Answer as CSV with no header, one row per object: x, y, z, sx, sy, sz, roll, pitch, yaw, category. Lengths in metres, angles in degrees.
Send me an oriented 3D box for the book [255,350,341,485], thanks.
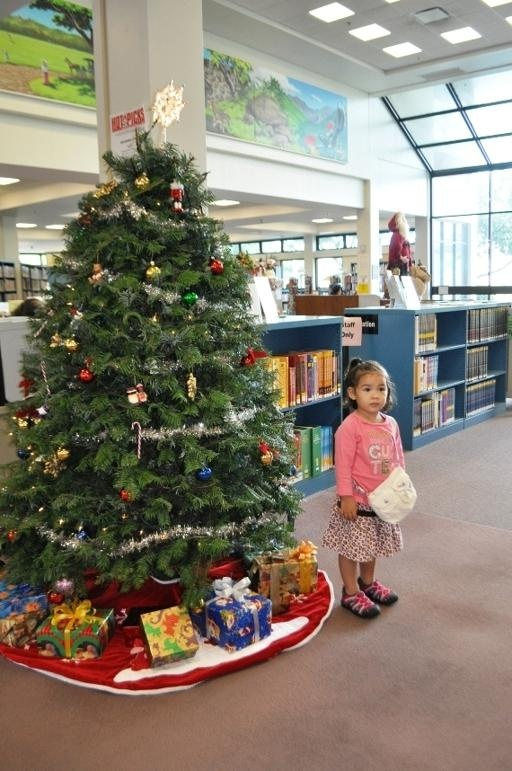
0.233,0.164,2.893,0.274,0.761,0.780,6,12,37,book

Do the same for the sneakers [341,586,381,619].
0.372,0.766,1.933,0.124,0.058,0.062,2,6,42,sneakers

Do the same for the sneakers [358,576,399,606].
0.457,0.755,2.037,0.134,0.062,0.067,8,7,31,sneakers

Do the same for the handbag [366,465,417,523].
0.472,0.380,1.883,0.189,0.154,0.071,-38,-2,-15,handbag

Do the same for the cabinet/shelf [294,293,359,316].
0.556,-0.636,4.336,0.472,0.187,0.294,0,2,7,cabinet/shelf
